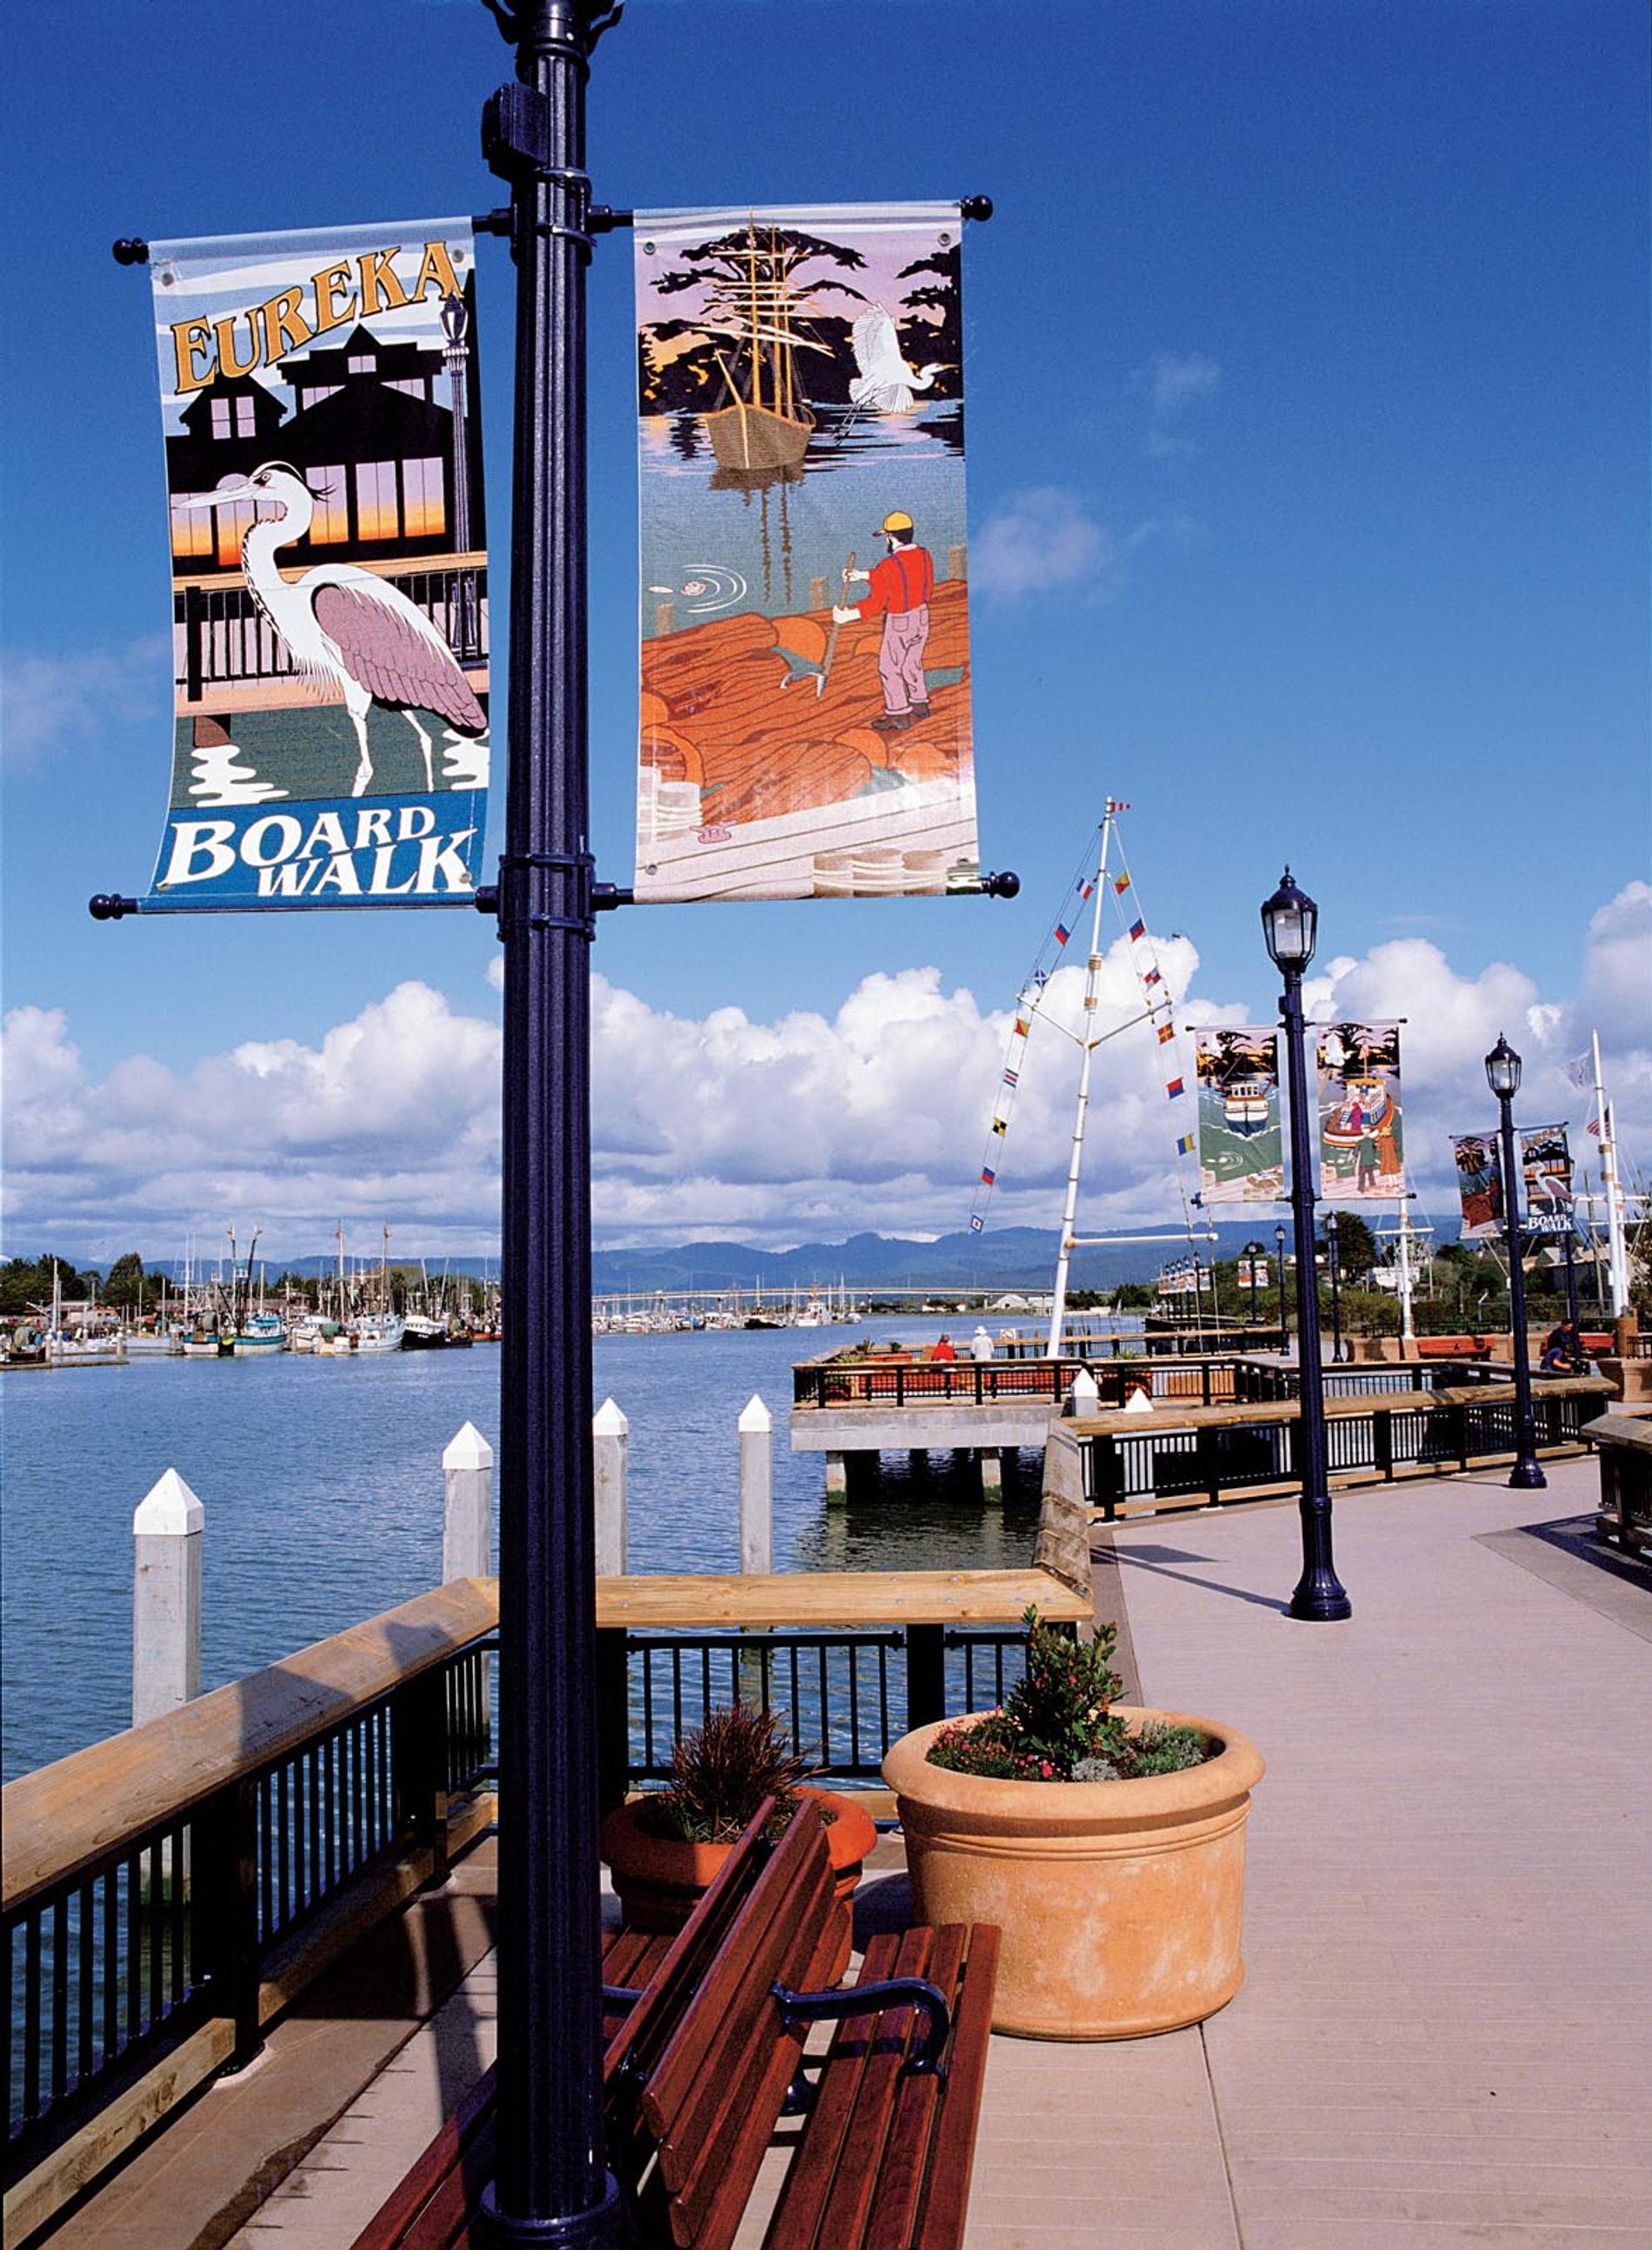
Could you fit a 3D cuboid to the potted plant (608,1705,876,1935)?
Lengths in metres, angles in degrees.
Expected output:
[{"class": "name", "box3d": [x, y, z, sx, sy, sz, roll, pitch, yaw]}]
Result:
[{"class": "potted plant", "box3d": [-0.352, 2.195, 6.961, 0.885, 0.713, 0.845, -1, 4, -14]}]

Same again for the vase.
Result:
[{"class": "vase", "box3d": [0.680, 2.147, 6.773, 1.160, 1.096, 1.155, 0, -7, -11]}]
